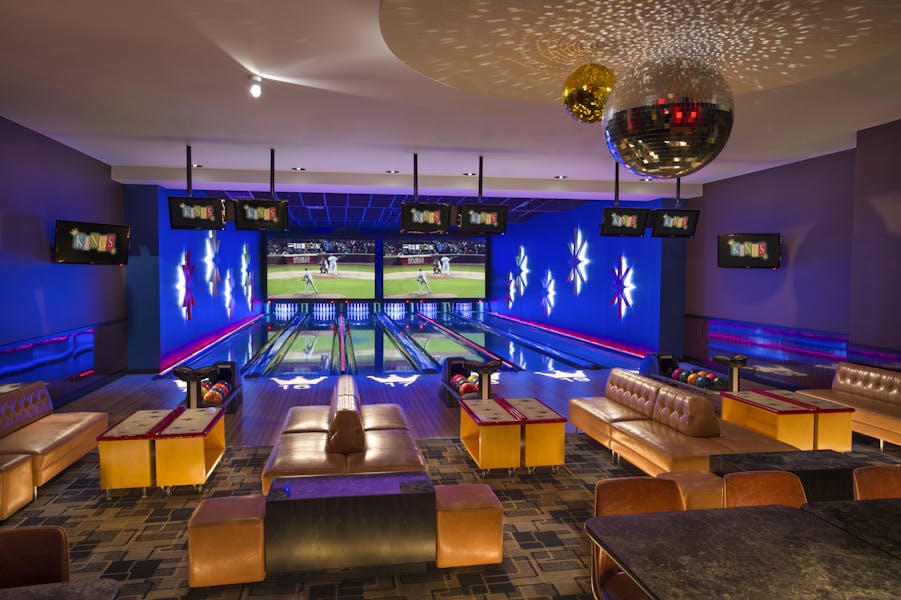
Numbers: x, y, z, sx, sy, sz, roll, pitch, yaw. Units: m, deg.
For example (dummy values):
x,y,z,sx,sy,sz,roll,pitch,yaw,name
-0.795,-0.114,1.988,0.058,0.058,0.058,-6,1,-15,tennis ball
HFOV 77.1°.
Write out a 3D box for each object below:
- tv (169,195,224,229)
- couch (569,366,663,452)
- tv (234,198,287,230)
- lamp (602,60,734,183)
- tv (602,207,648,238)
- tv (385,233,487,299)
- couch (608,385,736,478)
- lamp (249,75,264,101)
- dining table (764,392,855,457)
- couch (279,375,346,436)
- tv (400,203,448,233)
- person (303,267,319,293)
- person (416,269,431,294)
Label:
x,y,z,sx,sy,sz,roll,pitch,yaw,name
-3.129,-1.068,6.956,0.514,0.299,0.053,0,6,-10,tv
1.688,1.092,5.896,0.719,0.728,0.928,0,3,-10,couch
-2.317,-1.045,6.909,0.522,0.279,0.065,0,4,-7,tv
0.933,-0.808,2.719,0.563,0.520,0.510,5,14,2,lamp
2.335,-1.048,7.592,0.682,0.382,0.088,0,8,-4,tv
-0.521,-1.027,18.608,3.339,1.963,0.735,0,14,-3,tv
1.941,1.187,5.036,0.742,0.507,0.995,0,-1,-4,couch
-1.689,-1.866,4.931,0.126,0.198,0.127,7,8,30,lamp
3.702,1.101,5.720,0.506,0.441,0.898,0,-3,5,dining table
-1.253,1.102,5.384,0.573,0.370,0.779,1,-1,-3,couch
-0.323,-1.064,7.372,0.644,0.394,0.250,-1,14,-6,tv
-4.513,-0.594,18.137,0.443,0.753,0.228,-4,15,-14,person
-0.858,-0.607,18.581,0.483,0.746,0.282,3,14,11,person
